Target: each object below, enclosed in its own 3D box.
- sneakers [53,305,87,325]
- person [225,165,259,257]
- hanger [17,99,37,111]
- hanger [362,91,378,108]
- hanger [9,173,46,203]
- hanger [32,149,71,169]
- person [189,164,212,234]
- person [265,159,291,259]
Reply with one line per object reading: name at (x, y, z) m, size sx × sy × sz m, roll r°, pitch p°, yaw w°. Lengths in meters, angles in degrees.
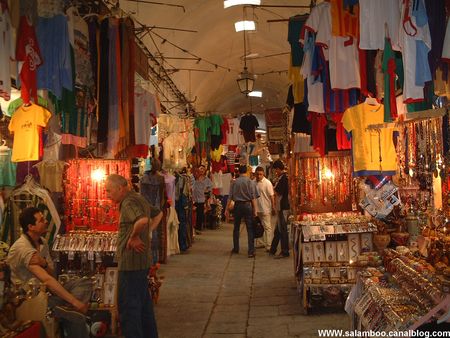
sneakers at (-1.644, 1.538, 4.522) m, size 0.401 × 0.159 × 0.169 m, roll 13°, pitch 0°, yaw -7°
person at (0.420, 0.906, 9.431) m, size 0.666 × 1.998 × 1.093 m, roll -1°, pitch 1°, yaw 3°
hanger at (-2.408, -0.780, 5.113) m, size 0.193 × 0.112 × 0.128 m, roll -27°, pitch 5°, yaw 3°
hanger at (1.722, -0.834, 4.963) m, size 0.154 × 0.051 × 0.151 m, roll 8°, pitch -32°, yaw 36°
hanger at (-2.516, 0.238, 5.387) m, size 0.316 × 0.254 × 0.342 m, roll 1°, pitch -1°, yaw -11°
hanger at (-2.416, -0.138, 5.953) m, size 0.538 × 0.254 × 0.271 m, roll -1°, pitch 1°, yaw 20°
person at (-0.647, 0.793, 11.883) m, size 0.527 × 1.761 × 1.037 m, roll -1°, pitch 1°, yaw -4°
person at (1.143, 0.848, 8.684) m, size 0.376 × 2.058 × 0.978 m, roll -1°, pitch 1°, yaw 4°
